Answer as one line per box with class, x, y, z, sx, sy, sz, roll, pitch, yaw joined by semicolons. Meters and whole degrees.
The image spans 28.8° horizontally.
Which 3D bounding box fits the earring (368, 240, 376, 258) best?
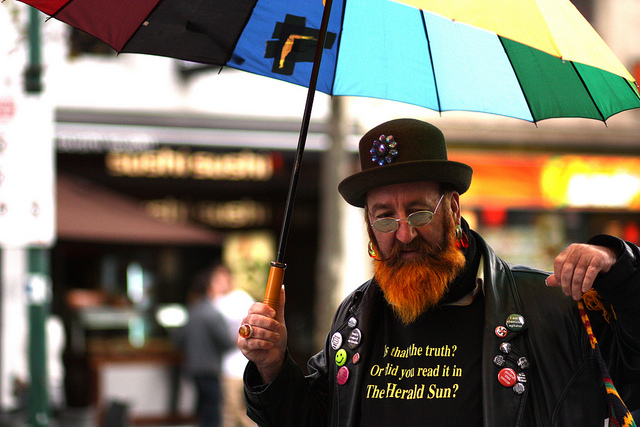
earring;0.477;0.335;11.616;0.030;0.121;0.125;-14;15;-11
